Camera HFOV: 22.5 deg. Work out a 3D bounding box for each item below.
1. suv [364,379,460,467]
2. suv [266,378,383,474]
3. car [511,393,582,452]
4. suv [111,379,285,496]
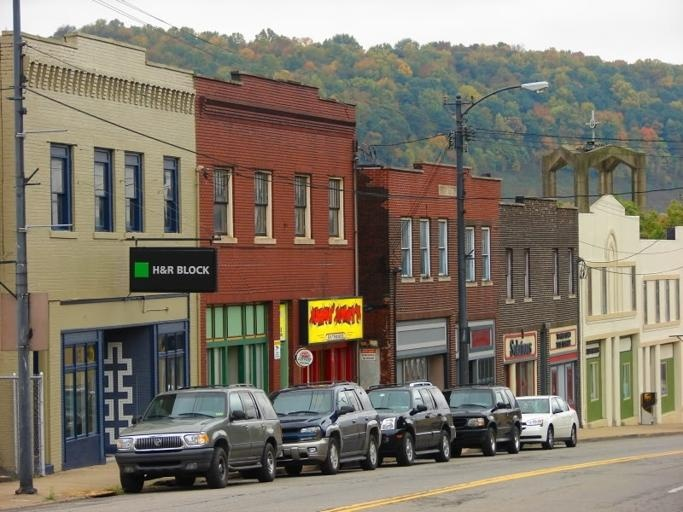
[{"bbox_3d":[1.837,5.377,54.079,2.080,2.426,4.323,-4,-6,29],"label":"suv"},{"bbox_3d":[-0.812,5.296,51.581,2.768,2.641,4.863,-5,-5,23],"label":"suv"},{"bbox_3d":[7.129,6.131,62.744,1.929,1.905,4.388,-5,-7,28],"label":"car"},{"bbox_3d":[-3.944,5.223,48.791,3.138,2.747,5.933,-4,-5,19],"label":"suv"}]
